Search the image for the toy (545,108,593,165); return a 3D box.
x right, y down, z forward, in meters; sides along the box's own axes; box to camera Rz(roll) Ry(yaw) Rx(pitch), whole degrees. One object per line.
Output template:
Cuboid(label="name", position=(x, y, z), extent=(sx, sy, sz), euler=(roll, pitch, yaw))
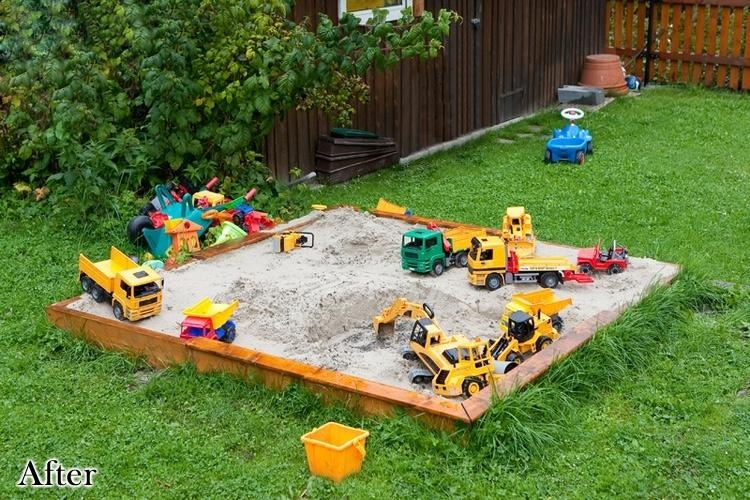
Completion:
Cuboid(label="toy", position=(3.948, -2.234, 14.804), extent=(0.817, 0.986, 1.529), euler=(2, 21, 16))

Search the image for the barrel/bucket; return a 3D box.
Cuboid(label="barrel/bucket", position=(-0.358, 1.923, 6.884), extent=(0.573, 0.343, 0.500), euler=(2, 7, 29))

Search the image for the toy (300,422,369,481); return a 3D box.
Cuboid(label="toy", position=(-0.366, 1.843, 6.804), extent=(0.438, 0.333, 0.608), euler=(0, 9, 22))
